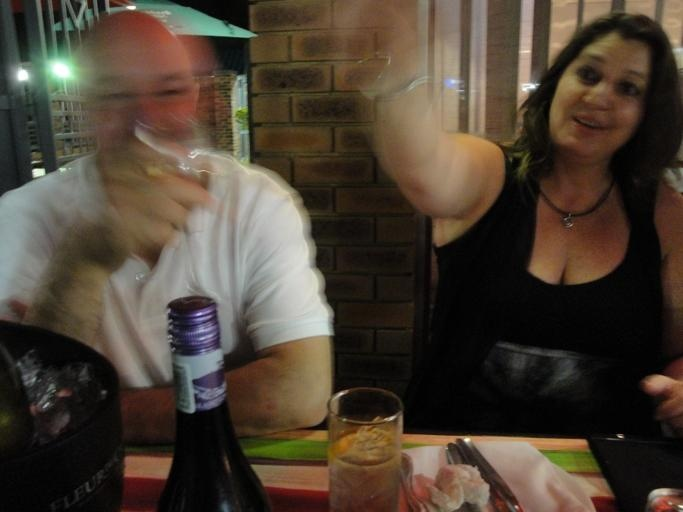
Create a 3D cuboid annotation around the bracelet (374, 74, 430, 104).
[{"bbox_3d":[0.171,-0.468,1.609,0.127,0.024,0.074,-16,8,15],"label":"bracelet"}]
